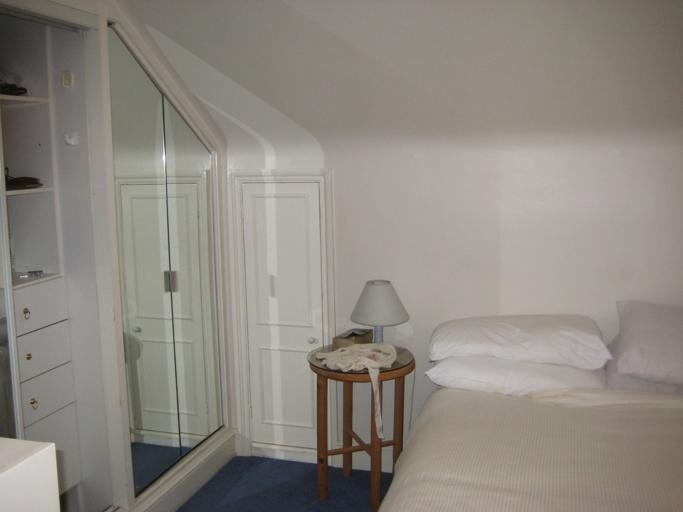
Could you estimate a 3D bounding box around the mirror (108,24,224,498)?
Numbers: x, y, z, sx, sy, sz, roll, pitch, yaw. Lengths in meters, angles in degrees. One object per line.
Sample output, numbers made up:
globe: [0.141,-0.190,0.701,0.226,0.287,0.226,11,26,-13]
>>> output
mirror: [-1.075,0.028,3.517,0.186,2.601,0.913,0,7,16]

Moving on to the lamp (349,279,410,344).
lamp: [0.242,0.391,3.662,0.365,0.559,0.376,1,24,7]
